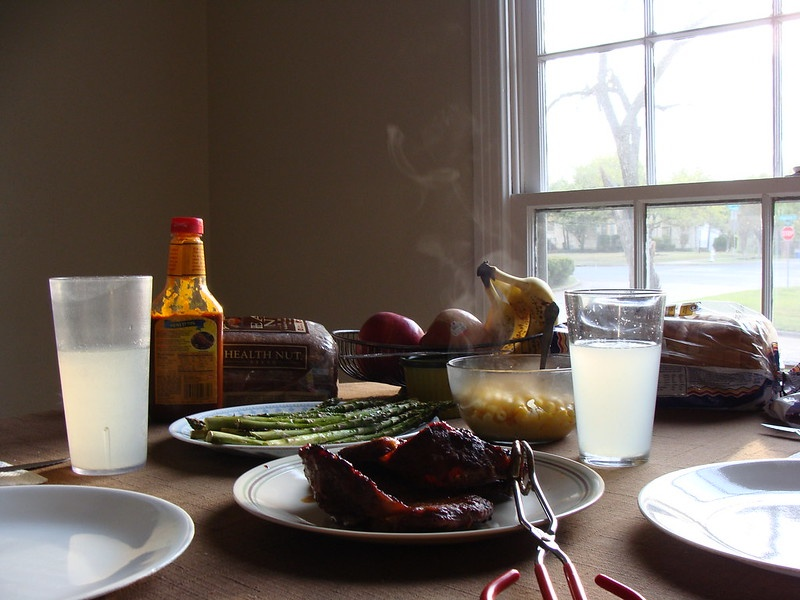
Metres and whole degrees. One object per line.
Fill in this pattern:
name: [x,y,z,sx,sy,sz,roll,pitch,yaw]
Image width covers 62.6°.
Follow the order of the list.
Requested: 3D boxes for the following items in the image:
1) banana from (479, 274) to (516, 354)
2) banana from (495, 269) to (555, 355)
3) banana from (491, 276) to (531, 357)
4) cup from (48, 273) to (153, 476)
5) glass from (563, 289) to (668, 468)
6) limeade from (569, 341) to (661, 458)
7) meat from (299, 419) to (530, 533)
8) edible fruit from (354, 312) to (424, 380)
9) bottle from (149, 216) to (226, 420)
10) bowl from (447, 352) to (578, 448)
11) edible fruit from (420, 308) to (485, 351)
banana: [0.170,0.017,1.138,0.050,0.150,0.101,-6,-8,3]
banana: [0.216,0.012,1.122,0.137,0.193,0.068,1,3,3]
banana: [0.229,0.008,1.252,0.059,0.111,0.187,25,21,8]
cup: [-0.327,0.087,0.734,0.098,0.225,0.053,-3,3,-24]
glass: [0.250,0.090,0.768,0.109,0.206,0.089,-2,3,4]
limeade: [0.251,0.105,0.842,0.128,0.184,0.146,0,3,12]
meat: [0.014,0.159,0.589,0.145,0.047,0.104,-2,0,-10]
edible fruit: [-0.003,0.071,1.135,0.125,0.115,0.120,4,-2,4]
bottle: [-0.319,0.033,0.925,0.142,0.293,0.069,-1,3,26]
bowl: [0.161,0.137,0.905,0.203,0.091,0.192,4,1,0]
edible fruit: [0.082,0.052,1.075,0.076,0.066,0.074,-1,-12,-30]
